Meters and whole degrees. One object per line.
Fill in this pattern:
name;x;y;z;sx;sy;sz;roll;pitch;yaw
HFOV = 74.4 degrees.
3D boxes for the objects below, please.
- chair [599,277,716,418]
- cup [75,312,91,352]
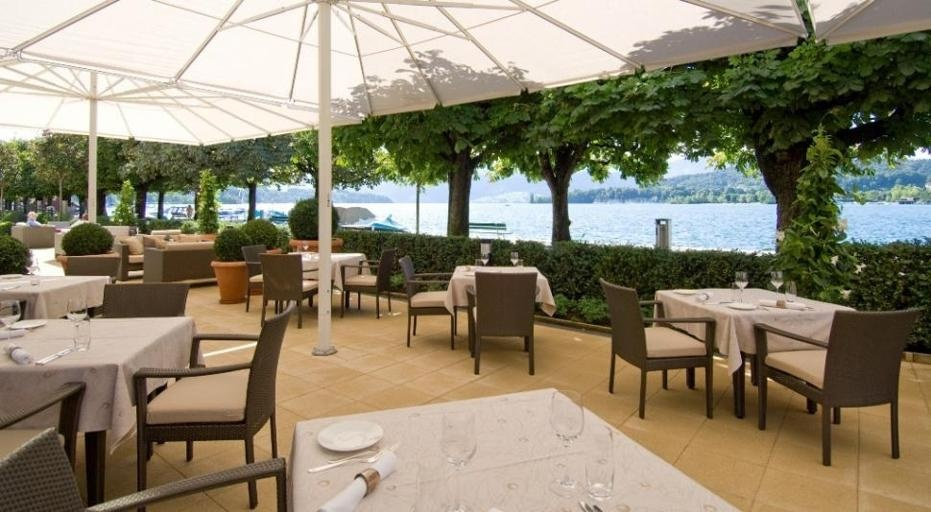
chair;3.296;1.490;10.600;1.981;2.001;1.970;5;8;41
cup;-5.396;1.069;8.622;0.209;0.506;0.267;-5;6;-34
